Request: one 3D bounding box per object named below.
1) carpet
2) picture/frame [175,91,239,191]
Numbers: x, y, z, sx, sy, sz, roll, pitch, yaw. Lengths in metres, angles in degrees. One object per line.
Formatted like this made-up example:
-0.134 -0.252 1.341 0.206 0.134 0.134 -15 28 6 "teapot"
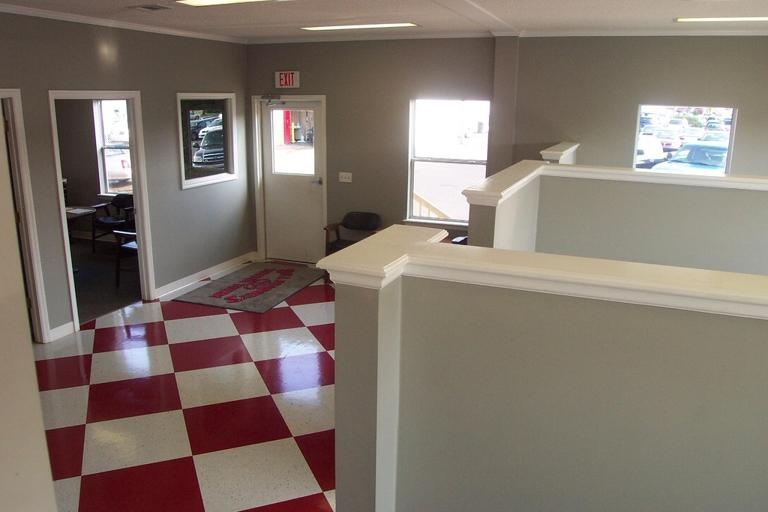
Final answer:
-1.610 0.375 6.986 1.210 0.113 1.669 5 17 24 "carpet"
-2.280 -1.489 7.001 0.101 1.363 1.237 8 15 28 "picture/frame"
